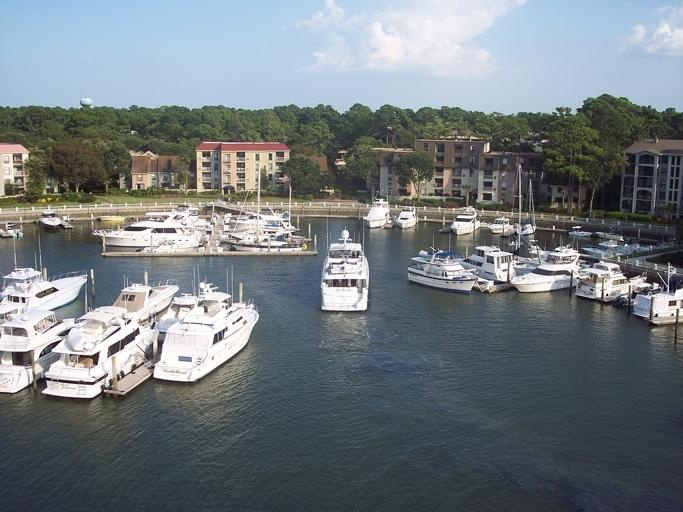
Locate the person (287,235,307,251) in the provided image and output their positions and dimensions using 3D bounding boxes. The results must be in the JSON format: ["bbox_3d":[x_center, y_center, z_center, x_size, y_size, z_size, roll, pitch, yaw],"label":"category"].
[{"bbox_3d":[-4.499,-1.312,78.206,1.271,0.946,2.364,2,11,-2],"label":"person"}]
